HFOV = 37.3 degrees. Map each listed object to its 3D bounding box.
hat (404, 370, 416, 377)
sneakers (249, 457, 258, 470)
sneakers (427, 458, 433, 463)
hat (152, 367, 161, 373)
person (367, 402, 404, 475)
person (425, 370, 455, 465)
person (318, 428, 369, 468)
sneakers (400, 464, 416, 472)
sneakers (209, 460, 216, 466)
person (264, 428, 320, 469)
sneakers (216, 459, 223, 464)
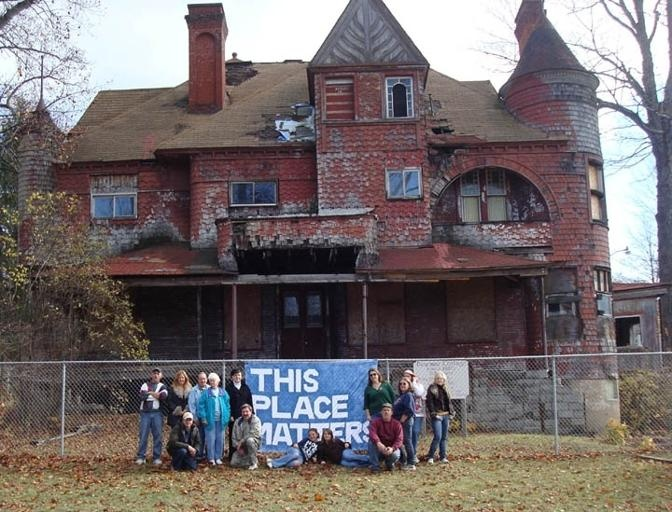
[{"bbox_3d":[1.892,3.035,25.762,0.202,0.106,0.281,18,-3,-10],"label":"hat"},{"bbox_3d":[-2.087,5.319,25.387,0.207,0.242,0.402,1,13,2],"label":"sneakers"},{"bbox_3d":[2.409,5.266,25.439,0.111,0.113,0.121,15,36,-7],"label":"sneakers"},{"bbox_3d":[-4.637,2.987,25.855,0.264,0.154,0.344,2,0,-2],"label":"hat"},{"bbox_3d":[1.265,4.575,25.036,0.858,1.715,0.544,1,13,1],"label":"person"},{"bbox_3d":[2.641,4.179,25.575,0.647,2.349,0.939,2,13,7],"label":"person"},{"bbox_3d":[0.158,4.978,25.663,1.320,0.776,0.496,6,14,20],"label":"person"},{"bbox_3d":[1.825,5.355,25.020,0.351,0.166,0.148,4,-14,4],"label":"sneakers"},{"bbox_3d":[-3.153,5.321,25.494,0.124,0.128,0.124,1,2,7],"label":"sneakers"},{"bbox_3d":[-1.114,5.136,25.759,1.813,0.700,0.906,-21,-8,-11],"label":"person"},{"bbox_3d":[-2.990,5.311,25.568,0.110,0.119,0.114,-1,-9,-13],"label":"sneakers"}]
